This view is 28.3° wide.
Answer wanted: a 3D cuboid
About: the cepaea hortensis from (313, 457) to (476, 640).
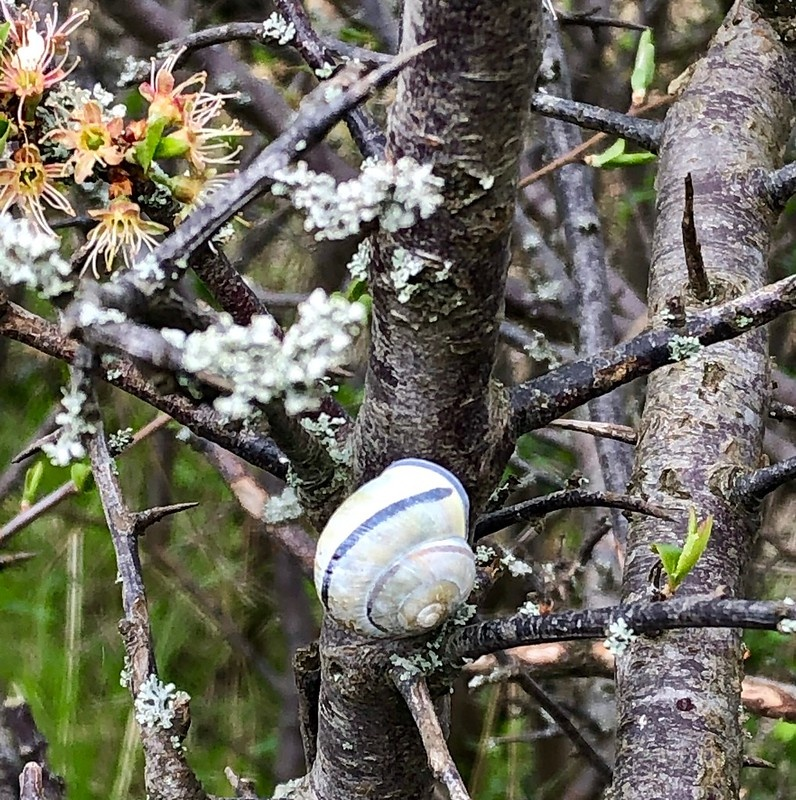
[{"bbox_3d":[-0.002,0.207,2.123,0.224,0.260,0.069,-22,35,-5],"label":"cepaea hortensis"}]
